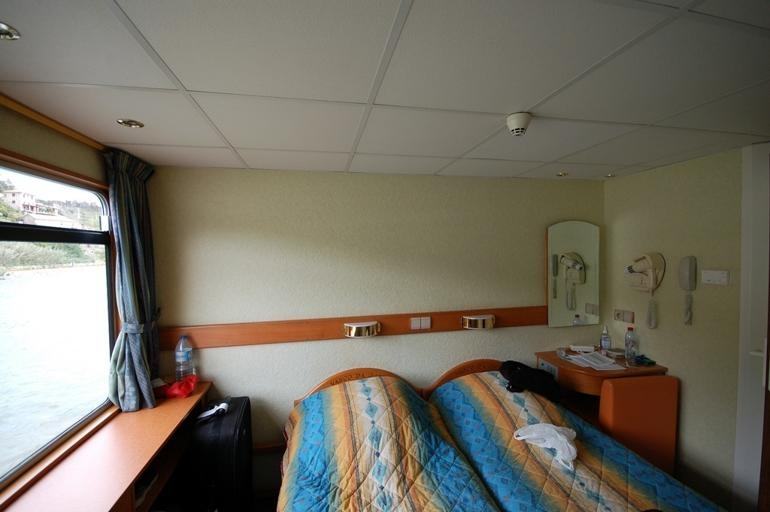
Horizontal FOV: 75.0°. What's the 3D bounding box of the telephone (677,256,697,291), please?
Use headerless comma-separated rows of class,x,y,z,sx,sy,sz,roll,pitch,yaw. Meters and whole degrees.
telephone,2.443,0.137,4.035,0.038,0.284,0.132,1,-2,-28

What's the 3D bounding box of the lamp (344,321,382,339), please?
lamp,-0.194,0.623,4.228,0.307,0.148,0.144,0,-2,-3

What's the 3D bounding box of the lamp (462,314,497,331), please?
lamp,0.832,0.583,4.425,0.310,0.138,0.157,0,-2,0

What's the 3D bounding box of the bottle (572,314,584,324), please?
bottle,1.778,0.579,4.640,0.080,0.151,0.081,2,-10,0

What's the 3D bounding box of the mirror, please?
mirror,1.733,0.158,4.633,0.524,0.966,0.081,1,-2,-13

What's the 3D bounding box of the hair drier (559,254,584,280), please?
hair drier,1.735,0.094,4.613,0.177,0.266,0.062,-3,5,21

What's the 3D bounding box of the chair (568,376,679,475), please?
chair,2.005,1.207,4.225,0.955,0.951,0.643,6,-4,-38

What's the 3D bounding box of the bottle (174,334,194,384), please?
bottle,-1.604,0.804,4.012,0.148,0.353,0.093,1,-2,-23
